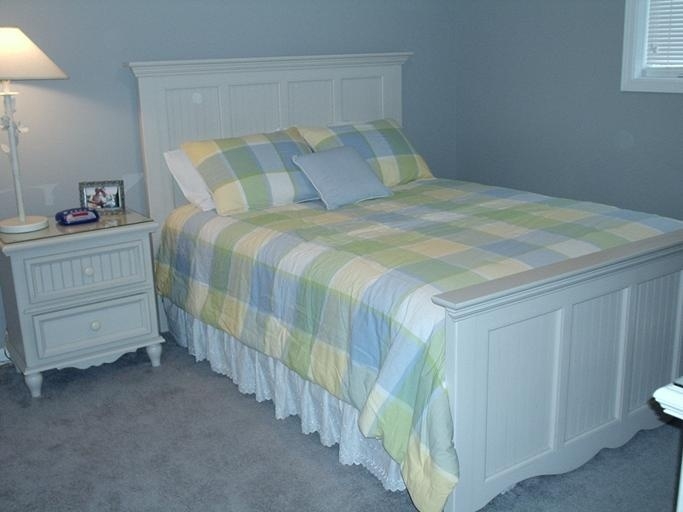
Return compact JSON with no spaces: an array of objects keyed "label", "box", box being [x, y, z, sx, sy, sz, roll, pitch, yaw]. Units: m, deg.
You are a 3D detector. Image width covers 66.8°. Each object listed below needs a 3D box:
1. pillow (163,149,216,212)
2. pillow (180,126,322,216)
[{"label":"pillow","box":[-0.873,-0.439,3.006,0.094,0.389,0.258,-29,-4,-13]},{"label":"pillow","box":[-0.477,-0.499,3.195,0.682,0.183,0.801,2,-12,0]}]
